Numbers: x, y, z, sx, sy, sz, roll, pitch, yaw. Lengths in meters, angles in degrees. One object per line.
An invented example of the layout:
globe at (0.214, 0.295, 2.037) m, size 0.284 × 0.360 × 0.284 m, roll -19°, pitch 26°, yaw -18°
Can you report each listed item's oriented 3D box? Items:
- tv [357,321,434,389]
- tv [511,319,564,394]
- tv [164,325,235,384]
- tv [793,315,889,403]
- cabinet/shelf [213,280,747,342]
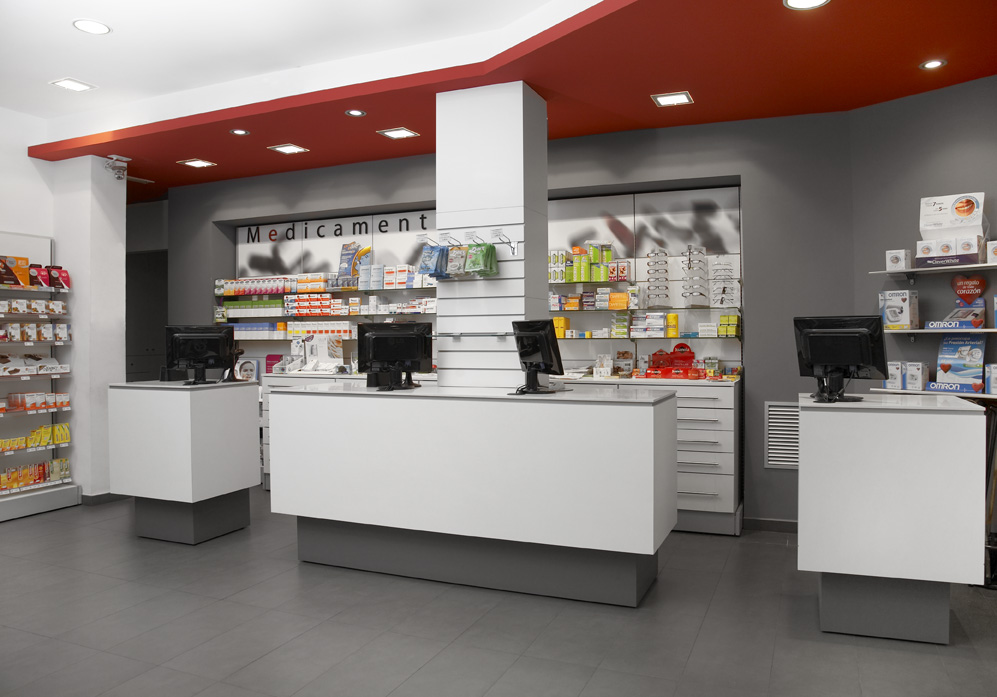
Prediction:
tv at (-0.928, 0.058, 6.219) m, size 0.781 × 0.665 × 0.546 m, roll 0°, pitch 3°, yaw -7°
tv at (0.302, 0.055, 5.558) m, size 0.389 × 0.583 × 0.335 m, roll -3°, pitch 8°, yaw -15°
tv at (-3.021, 0.056, 6.888) m, size 0.667 × 0.607 × 0.350 m, roll 1°, pitch 1°, yaw 1°
tv at (2.691, 0.067, 5.289) m, size 0.841 × 0.860 × 0.441 m, roll 1°, pitch 2°, yaw 29°
cabinet/shelf at (-0.856, -0.501, 8.694) m, size 6.710 × 0.846 × 0.482 m, roll 3°, pitch 8°, yaw 20°
